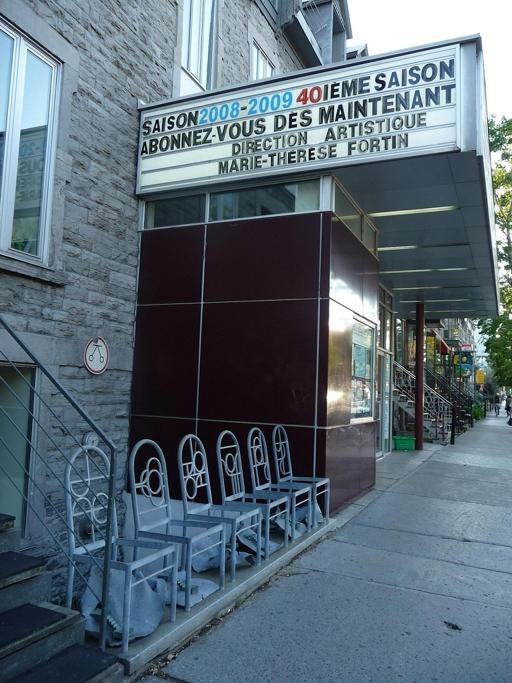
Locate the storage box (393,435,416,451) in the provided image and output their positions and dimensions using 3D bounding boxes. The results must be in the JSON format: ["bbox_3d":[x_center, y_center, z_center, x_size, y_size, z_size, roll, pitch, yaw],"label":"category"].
[{"bbox_3d":[3.979,2.751,13.886,0.562,0.346,0.561,0,-6,16],"label":"storage box"}]
